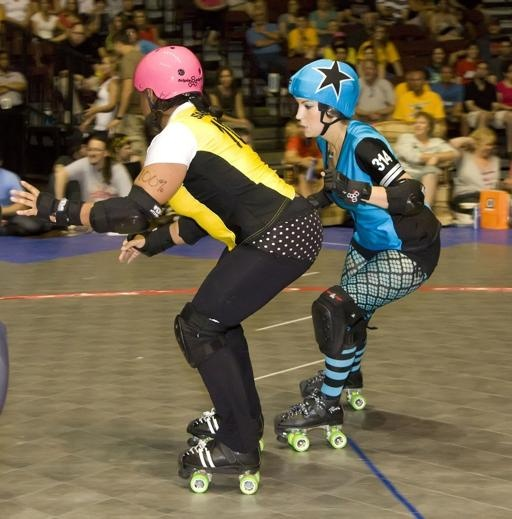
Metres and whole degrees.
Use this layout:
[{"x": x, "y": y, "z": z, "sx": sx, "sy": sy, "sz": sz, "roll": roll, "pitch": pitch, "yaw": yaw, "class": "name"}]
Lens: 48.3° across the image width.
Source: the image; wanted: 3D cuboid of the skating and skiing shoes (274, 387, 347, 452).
[{"x": 0.225, "y": 0.713, "z": 2.549, "sx": 0.352, "sy": 0.174, "sz": 0.216, "roll": 3, "pitch": 5, "yaw": -30, "class": "skating and skiing shoes"}]

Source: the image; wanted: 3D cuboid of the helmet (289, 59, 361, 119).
[{"x": 0.311, "y": -0.764, "z": 2.541, "sx": 0.323, "sy": 0.246, "sz": 0.255, "roll": 15, "pitch": 28, "yaw": 42, "class": "helmet"}]

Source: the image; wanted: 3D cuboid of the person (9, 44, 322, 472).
[{"x": -0.232, "y": 0.010, "z": 2.046, "sx": 0.818, "sy": 1.582, "sz": 0.488, "roll": 3, "pitch": 8, "yaw": 16, "class": "person"}]

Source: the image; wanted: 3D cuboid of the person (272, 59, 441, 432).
[{"x": 0.409, "y": -0.113, "z": 2.743, "sx": 1.101, "sy": 1.475, "sz": 0.764, "roll": 2, "pitch": 7, "yaw": 16, "class": "person"}]

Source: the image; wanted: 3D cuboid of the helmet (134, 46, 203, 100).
[{"x": -0.339, "y": -0.683, "z": 2.085, "sx": 0.211, "sy": 0.191, "sz": 0.316, "roll": -18, "pitch": 26, "yaw": -35, "class": "helmet"}]
